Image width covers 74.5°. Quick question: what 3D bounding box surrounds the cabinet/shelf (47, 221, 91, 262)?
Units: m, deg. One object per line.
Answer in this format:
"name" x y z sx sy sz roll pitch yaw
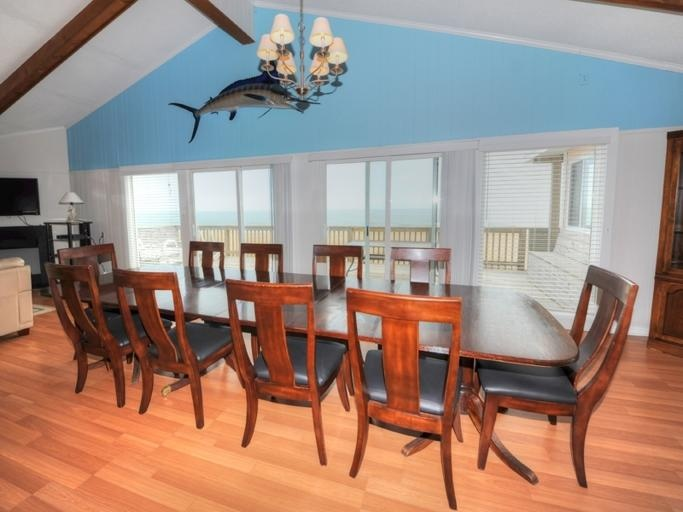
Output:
"cabinet/shelf" -4.343 -0.331 7.278 0.502 0.730 0.528 -5 -14 6

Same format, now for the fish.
"fish" -1.123 -1.832 5.243 1.565 0.646 0.417 -9 8 3

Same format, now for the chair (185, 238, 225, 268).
"chair" -1.612 -0.065 5.358 0.353 0.285 1.031 -2 8 -16

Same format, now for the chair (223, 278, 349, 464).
"chair" -0.365 0.825 3.725 0.899 1.427 1.011 0 11 -2

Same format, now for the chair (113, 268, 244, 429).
"chair" -1.382 0.706 3.963 0.700 1.356 0.883 4 13 10

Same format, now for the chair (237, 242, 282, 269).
"chair" -0.846 0.008 4.821 0.663 0.286 0.347 7 11 41

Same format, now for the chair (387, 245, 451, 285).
"chair" 0.769 0.122 4.397 0.575 0.369 0.186 1 -17 11
